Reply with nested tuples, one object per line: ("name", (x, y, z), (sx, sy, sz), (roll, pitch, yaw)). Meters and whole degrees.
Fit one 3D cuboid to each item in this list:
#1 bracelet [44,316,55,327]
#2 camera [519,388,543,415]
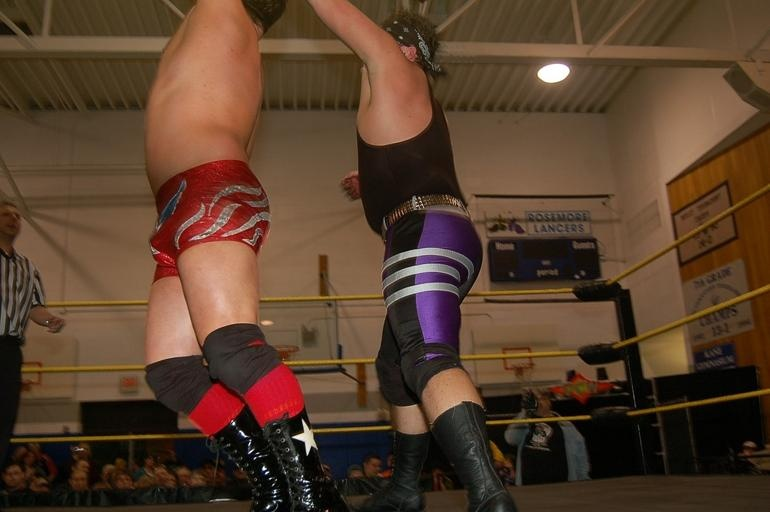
("bracelet", (-2.659, 0.513, 5.022), (0.075, 0.075, 0.095), (-2, -12, -3))
("camera", (1.749, 1.699, 7.367), (0.213, 0.328, 0.343), (-2, -15, -6))
